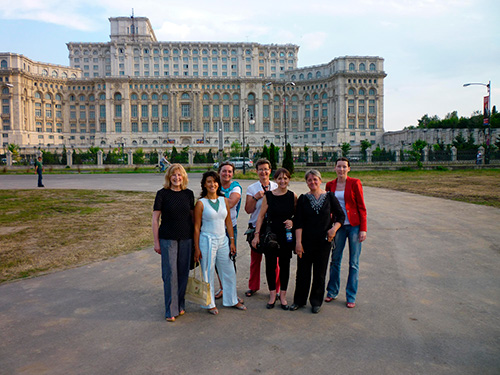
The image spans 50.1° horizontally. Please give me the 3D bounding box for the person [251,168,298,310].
[{"bbox_3d":[0.483,0.998,9.631,0.884,2.714,0.815,-1,13,-7],"label":"person"}]

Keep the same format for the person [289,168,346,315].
[{"bbox_3d":[1.122,0.916,9.464,0.734,2.411,0.992,6,13,33],"label":"person"}]

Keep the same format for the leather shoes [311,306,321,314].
[{"bbox_3d":[1.152,2.134,9.315,0.157,0.090,0.145,0,12,5],"label":"leather shoes"}]

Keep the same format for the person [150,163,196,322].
[{"bbox_3d":[-1.373,0.919,9.195,0.582,2.553,0.887,3,11,19],"label":"person"}]

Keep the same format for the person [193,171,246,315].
[{"bbox_3d":[-0.607,0.930,9.397,0.778,2.421,0.557,-2,11,-7],"label":"person"}]

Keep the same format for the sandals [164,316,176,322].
[{"bbox_3d":[-1.345,2.216,8.999,0.185,0.077,0.154,-3,12,-13],"label":"sandals"}]

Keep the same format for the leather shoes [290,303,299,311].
[{"bbox_3d":[0.768,2.124,9.406,0.077,0.098,0.210,-4,-13,15],"label":"leather shoes"}]

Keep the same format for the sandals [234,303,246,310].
[{"bbox_3d":[-0.178,2.121,9.456,0.216,0.105,0.090,-4,-1,34],"label":"sandals"}]
